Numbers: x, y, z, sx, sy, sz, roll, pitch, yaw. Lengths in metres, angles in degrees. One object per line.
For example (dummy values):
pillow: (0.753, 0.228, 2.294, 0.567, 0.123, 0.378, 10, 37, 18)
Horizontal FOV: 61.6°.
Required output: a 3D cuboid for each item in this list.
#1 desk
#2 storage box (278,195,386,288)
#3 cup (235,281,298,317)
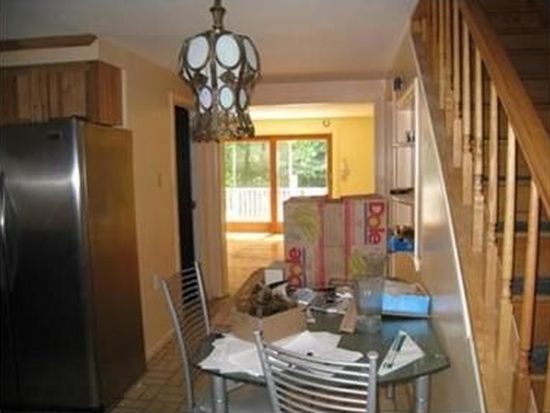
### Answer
desk: (0.420, 0.719, 2.501, 0.920, 0.568, 0.949, 3, 8, 26)
storage box: (0.418, 0.209, 3.446, 0.958, 0.832, 0.538, -1, 5, 1)
cup: (-0.043, 0.452, 2.482, 0.233, 0.148, 0.218, -2, 1, 0)
